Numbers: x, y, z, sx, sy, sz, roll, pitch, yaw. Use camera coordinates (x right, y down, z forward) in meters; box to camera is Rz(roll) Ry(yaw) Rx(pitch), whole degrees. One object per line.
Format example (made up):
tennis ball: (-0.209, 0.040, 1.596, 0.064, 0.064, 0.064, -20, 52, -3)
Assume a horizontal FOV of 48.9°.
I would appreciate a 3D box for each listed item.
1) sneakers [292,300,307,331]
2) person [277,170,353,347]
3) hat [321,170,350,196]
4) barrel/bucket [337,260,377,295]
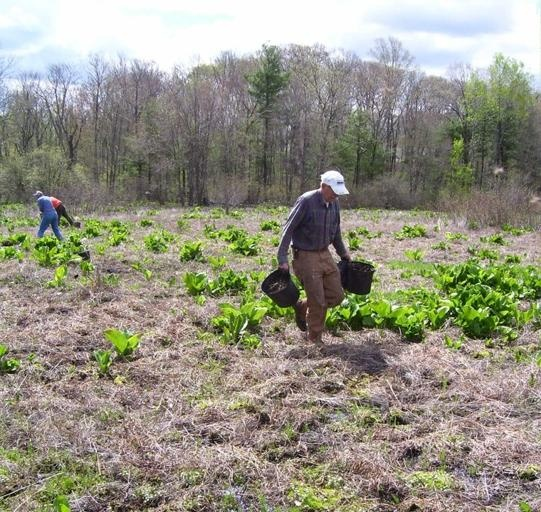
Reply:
sneakers: (0.343, 0.726, 7.074, 0.112, 0.385, 0.142, 1, 7, 18)
person: (0.474, 0.025, 6.771, 0.735, 1.904, 0.884, 0, 4, 5)
hat: (0.678, -0.784, 6.427, 0.273, 0.278, 0.662, 0, 4, 5)
barrel/bucket: (1.022, 0.263, 7.272, 0.354, 0.368, 0.430, 2, 2, -7)
